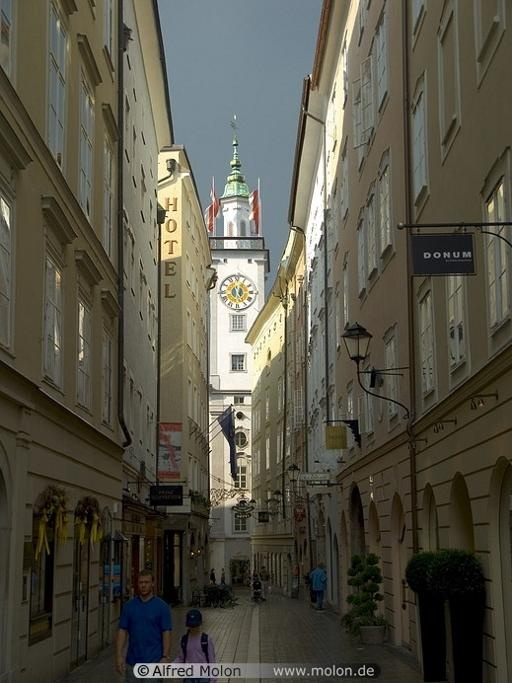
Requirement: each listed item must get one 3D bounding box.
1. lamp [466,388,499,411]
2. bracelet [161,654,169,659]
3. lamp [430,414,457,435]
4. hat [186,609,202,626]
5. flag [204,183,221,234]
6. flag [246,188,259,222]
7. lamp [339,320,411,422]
[{"bbox_3d":[2.444,0.637,8.478,0.074,0.248,0.259,-2,0,-29],"label":"lamp"},{"bbox_3d":[-0.657,2.260,5.573,0.028,0.014,0.037,2,-4,-20],"label":"bracelet"},{"bbox_3d":[2.640,1.167,10.993,0.091,0.288,0.255,-3,1,-41],"label":"lamp"},{"bbox_3d":[-0.463,2.021,5.701,0.078,0.127,0.173,-2,-1,2],"label":"hat"},{"bbox_3d":[-5.562,-17.680,101.042,1.342,8.990,1.021,-8,-40,8],"label":"flag"},{"bbox_3d":[-0.345,-16.153,93.459,1.113,4.873,1.384,-4,-17,6],"label":"flag"},{"bbox_3d":[2.130,0.526,14.043,0.965,0.588,2.358,4,-57,22],"label":"lamp"}]
